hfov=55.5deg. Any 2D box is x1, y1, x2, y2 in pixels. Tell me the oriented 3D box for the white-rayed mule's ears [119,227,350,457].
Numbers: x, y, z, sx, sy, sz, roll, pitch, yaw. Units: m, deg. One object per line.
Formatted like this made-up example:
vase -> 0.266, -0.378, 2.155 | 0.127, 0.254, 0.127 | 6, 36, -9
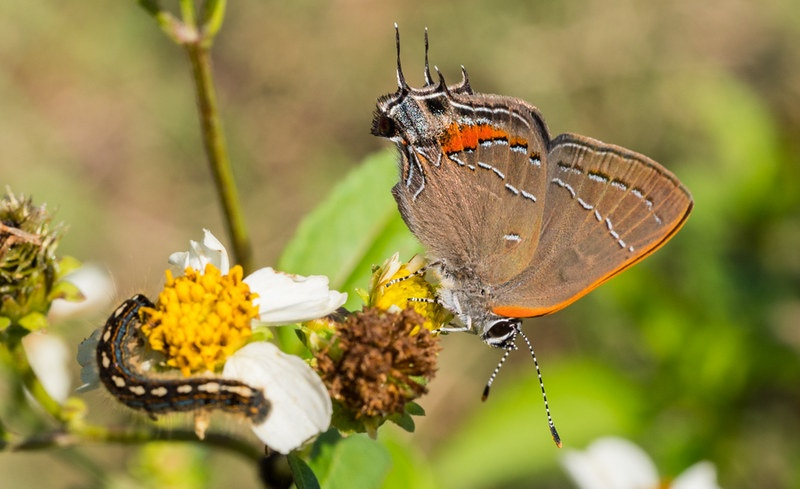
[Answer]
white-rayed mule's ears -> -0.970, 0.608, 4.799 | 1.552, 1.349, 0.991 | -8, 21, -11
